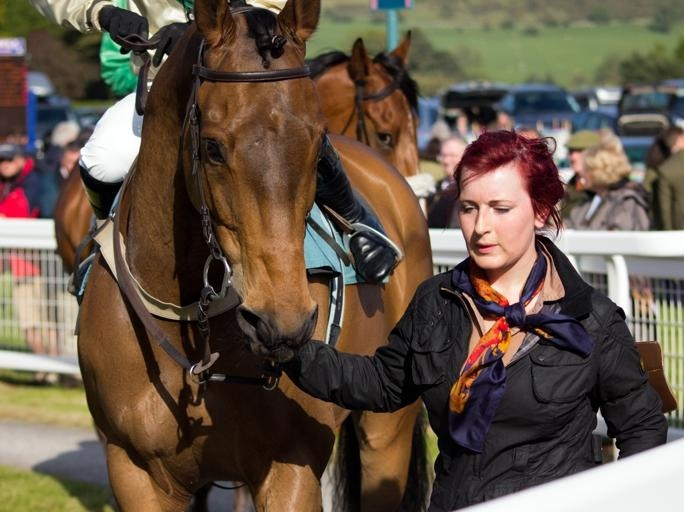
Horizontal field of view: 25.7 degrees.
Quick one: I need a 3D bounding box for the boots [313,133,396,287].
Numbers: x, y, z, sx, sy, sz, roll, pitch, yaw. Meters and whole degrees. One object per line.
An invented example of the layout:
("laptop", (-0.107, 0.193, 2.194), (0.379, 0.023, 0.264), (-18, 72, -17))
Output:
("boots", (0.074, -0.225, 8.749), (0.256, 0.834, 0.400), (-34, -4, 1))
